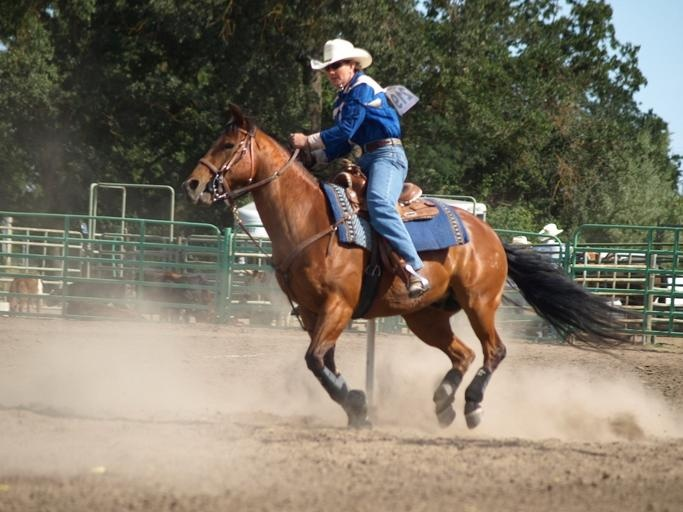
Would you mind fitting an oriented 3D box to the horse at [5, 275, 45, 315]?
[{"bbox_3d":[-7.319,0.871,21.950,0.735,0.938,3.609,1,2,-18],"label":"horse"}]

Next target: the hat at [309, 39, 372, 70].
[{"bbox_3d":[0.052,-3.038,13.800,0.636,0.272,0.554,-5,-8,-44],"label":"hat"}]
